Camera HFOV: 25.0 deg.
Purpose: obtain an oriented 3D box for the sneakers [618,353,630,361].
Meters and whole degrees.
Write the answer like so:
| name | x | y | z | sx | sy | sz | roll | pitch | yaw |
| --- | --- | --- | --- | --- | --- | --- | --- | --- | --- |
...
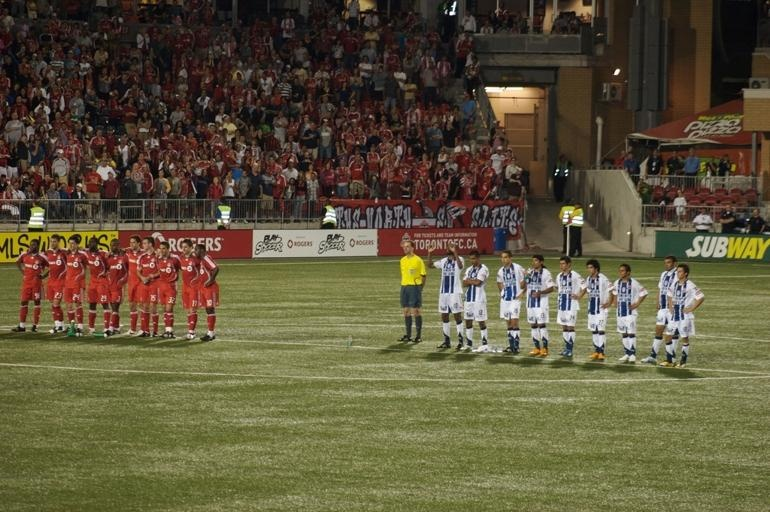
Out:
| name | x | y | z | sx | sy | sz | roll | pitch | yaw |
| --- | --- | --- | --- | --- | --- | --- | --- | --- | --- |
| sneakers | 8.470 | 3.392 | 61.427 | 0.145 | 0.164 | 0.388 | -18 | 1 | -20 |

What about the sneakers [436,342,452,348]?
| name | x | y | z | sx | sy | sz | roll | pitch | yaw |
| --- | --- | --- | --- | --- | --- | --- | --- | --- | --- |
| sneakers | 2.160 | 2.987 | 62.549 | 0.550 | 0.223 | 0.184 | 1 | 4 | 13 |

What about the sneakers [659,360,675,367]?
| name | x | y | z | sx | sy | sz | roll | pitch | yaw |
| --- | --- | --- | --- | --- | --- | --- | --- | --- | --- |
| sneakers | 9.954 | 3.545 | 61.094 | 0.462 | 0.199 | 0.196 | 2 | 4 | 9 |

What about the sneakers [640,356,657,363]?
| name | x | y | z | sx | sy | sz | roll | pitch | yaw |
| --- | --- | --- | --- | --- | --- | --- | --- | --- | --- |
| sneakers | 9.309 | 3.416 | 61.282 | 0.601 | 0.243 | 0.212 | 4 | 6 | -4 |

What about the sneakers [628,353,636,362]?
| name | x | y | z | sx | sy | sz | roll | pitch | yaw |
| --- | --- | --- | --- | --- | --- | --- | --- | --- | --- |
| sneakers | 8.785 | 3.376 | 61.348 | 0.158 | 0.285 | 0.357 | -1 | -2 | 37 |

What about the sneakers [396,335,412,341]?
| name | x | y | z | sx | sy | sz | roll | pitch | yaw |
| --- | --- | --- | --- | --- | --- | --- | --- | --- | --- |
| sneakers | 0.700 | 2.761 | 63.193 | 0.495 | 0.203 | 0.178 | 3 | 3 | 18 |

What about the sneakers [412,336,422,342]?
| name | x | y | z | sx | sy | sz | roll | pitch | yaw |
| --- | --- | --- | --- | --- | --- | --- | --- | --- | --- |
| sneakers | 1.174 | 2.789 | 63.089 | 0.202 | 0.190 | 0.432 | 1 | -4 | 13 |
